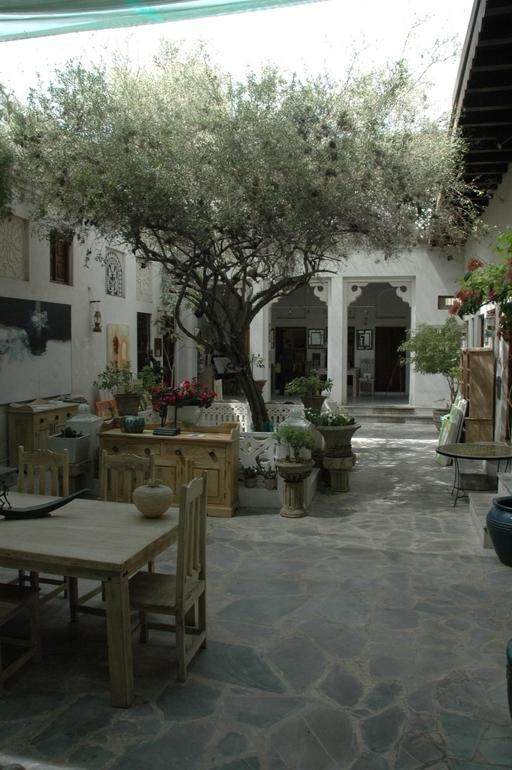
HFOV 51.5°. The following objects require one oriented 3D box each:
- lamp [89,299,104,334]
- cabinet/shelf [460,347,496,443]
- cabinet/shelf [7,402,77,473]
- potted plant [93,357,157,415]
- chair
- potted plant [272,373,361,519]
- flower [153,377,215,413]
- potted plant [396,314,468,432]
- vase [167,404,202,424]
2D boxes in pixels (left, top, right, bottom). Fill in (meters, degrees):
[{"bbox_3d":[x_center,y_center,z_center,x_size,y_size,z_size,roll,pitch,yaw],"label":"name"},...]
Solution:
[{"bbox_3d":[-3.023,-1.320,10.077,0.165,0.638,0.469,0,-1,-7],"label":"lamp"},{"bbox_3d":[3.305,0.186,7.870,0.352,1.390,1.434,0,1,17],"label":"cabinet/shelf"},{"bbox_3d":[-2.596,0.611,6.358,0.303,0.657,0.993,0,7,4],"label":"cabinet/shelf"},{"bbox_3d":[-2.179,0.015,9.028,1.272,0.974,1.077,-2,4,-24],"label":"potted plant"},{"bbox_3d":[-0.694,0.911,2.629,0.961,0.749,1.016,1,8,15],"label":"chair"},{"bbox_3d":[0.819,0.751,6.886,0.669,1.156,2.762,0,7,9],"label":"potted plant"},{"bbox_3d":[-0.813,0.126,6.123,0.470,0.260,0.469,-3,6,-34],"label":"flower"},{"bbox_3d":[4.162,-0.296,12.926,1.829,2.679,2.379,-4,12,2],"label":"potted plant"},{"bbox_3d":[-0.832,0.339,6.165,0.255,0.205,0.232,1,1,-7],"label":"vase"}]
